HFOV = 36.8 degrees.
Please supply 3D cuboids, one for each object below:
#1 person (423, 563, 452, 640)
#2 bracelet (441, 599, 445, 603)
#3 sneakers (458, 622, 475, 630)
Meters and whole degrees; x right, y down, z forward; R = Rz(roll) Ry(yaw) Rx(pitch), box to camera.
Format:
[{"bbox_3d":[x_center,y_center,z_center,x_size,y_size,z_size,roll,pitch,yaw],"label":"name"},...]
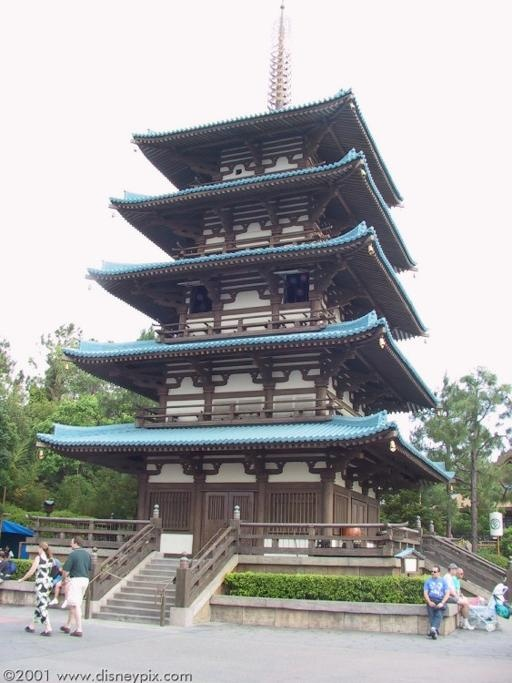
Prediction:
[{"bbox_3d":[3.997,5.778,17.084,0.564,1.510,0.930,-2,-19,11],"label":"person"},{"bbox_3d":[4.119,5.717,16.939,0.067,0.058,0.114,-3,-8,14],"label":"bracelet"},{"bbox_3d":[5.187,7.008,18.979,0.145,0.165,0.395,1,-10,-27],"label":"sneakers"}]
